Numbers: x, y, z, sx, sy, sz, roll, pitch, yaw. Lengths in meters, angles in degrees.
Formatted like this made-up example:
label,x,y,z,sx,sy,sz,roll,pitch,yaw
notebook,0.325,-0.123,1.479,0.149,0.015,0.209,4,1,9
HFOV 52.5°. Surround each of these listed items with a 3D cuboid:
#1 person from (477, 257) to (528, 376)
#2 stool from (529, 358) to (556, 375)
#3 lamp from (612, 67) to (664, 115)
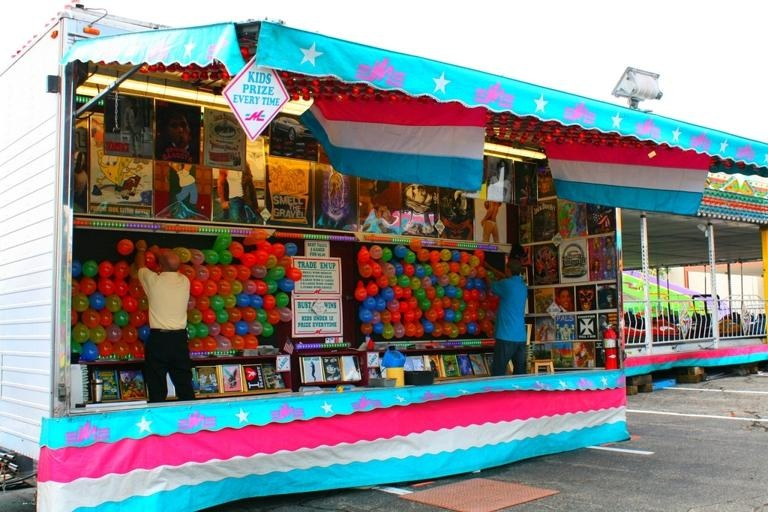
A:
label,x,y,z,sx,sy,sz,roll,pitch,yaw
person,1.888,0.920,12.135,0.582,1.720,0.641,1,-1,-36
stool,2.511,1.737,12.349,0.300,0.291,0.292,3,-9,-35
lamp,3.443,-2.231,10.581,0.565,0.579,0.487,3,7,-25
